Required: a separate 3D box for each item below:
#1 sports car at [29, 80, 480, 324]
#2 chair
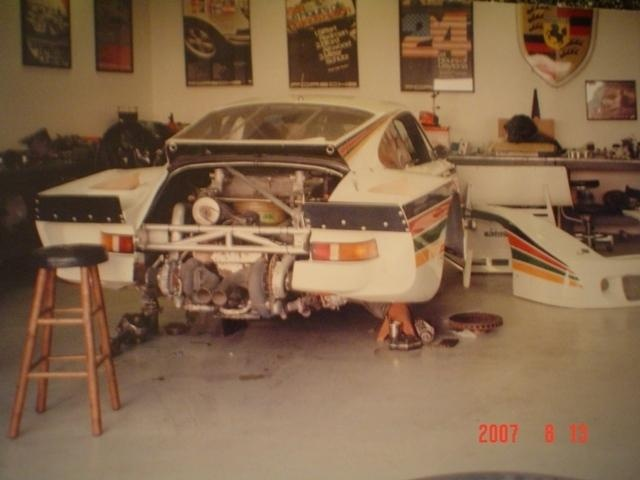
[{"bbox_3d":[-0.585,-0.009,4.553,2.300,1.130,2.967,4,-5,2],"label":"sports car"},{"bbox_3d":[1.960,-0.194,4.150,0.487,0.478,0.378,0,4,5],"label":"chair"}]
